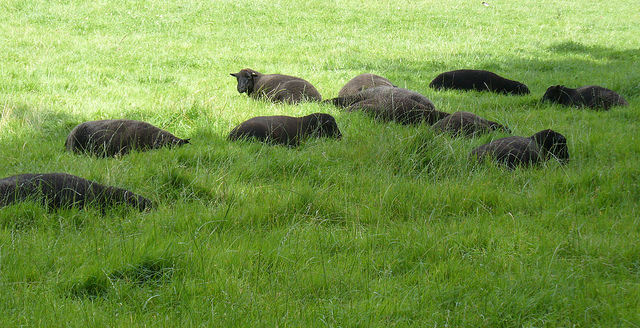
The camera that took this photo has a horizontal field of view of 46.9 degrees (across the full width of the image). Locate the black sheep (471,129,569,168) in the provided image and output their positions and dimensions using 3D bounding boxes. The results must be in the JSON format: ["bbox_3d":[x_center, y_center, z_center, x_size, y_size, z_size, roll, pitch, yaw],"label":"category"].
[{"bbox_3d":[6.754,-0.546,24.514,3.905,1.671,1.225,1,7,-13],"label":"black sheep"}]

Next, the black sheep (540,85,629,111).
[{"bbox_3d":[10.055,-2.586,28.091,2.852,0.827,0.655,12,18,12],"label":"black sheep"}]

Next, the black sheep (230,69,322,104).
[{"bbox_3d":[-1.777,-3.013,29.638,1.615,1.187,4.013,-9,24,-41],"label":"black sheep"}]

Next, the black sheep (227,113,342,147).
[{"bbox_3d":[-1.161,-1.262,25.491,3.615,1.120,0.985,4,19,-13],"label":"black sheep"}]
